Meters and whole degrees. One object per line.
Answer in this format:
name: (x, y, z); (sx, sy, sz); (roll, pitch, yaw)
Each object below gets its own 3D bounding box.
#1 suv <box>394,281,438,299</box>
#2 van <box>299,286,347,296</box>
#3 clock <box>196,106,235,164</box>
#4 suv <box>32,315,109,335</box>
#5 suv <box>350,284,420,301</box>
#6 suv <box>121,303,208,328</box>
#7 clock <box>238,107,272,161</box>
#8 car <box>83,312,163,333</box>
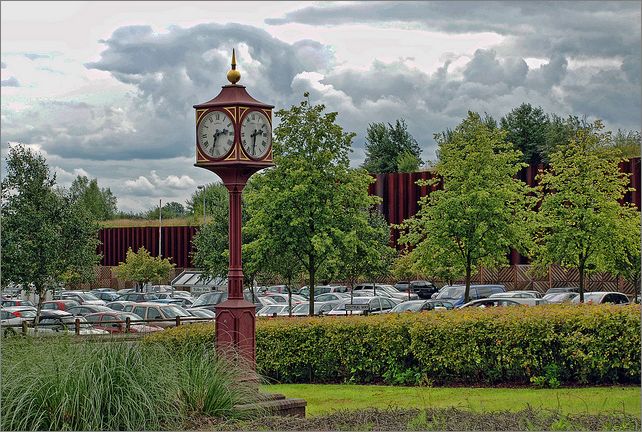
suv: (6.542, 4.884, 93.027); (2.165, 1.035, 1.282); (-3, 3, -1)
van: (0.074, 4.887, 90.937); (2.523, 0.831, 1.279); (1, 0, 10)
clock: (-4.583, -3.475, 58.400); (1.963, 2.339, 0.189); (-2, -3, 24)
suv: (-13.201, 5.623, 70.925); (2.920, 1.034, 1.404); (-2, -2, 25)
suv: (4.353, 5.340, 91.219); (3.607, 1.200, 1.498); (-2, 1, 10)
suv: (-8.785, 5.192, 72.643); (3.431, 1.344, 1.682); (-3, -1, 20)
clock: (-2.890, -3.461, 58.479); (1.276, 2.093, 0.439); (-1, 6, -2)
car: (-10.790, 5.500, 71.171); (3.873, 1.272, 1.879); (-5, -4, 30)
